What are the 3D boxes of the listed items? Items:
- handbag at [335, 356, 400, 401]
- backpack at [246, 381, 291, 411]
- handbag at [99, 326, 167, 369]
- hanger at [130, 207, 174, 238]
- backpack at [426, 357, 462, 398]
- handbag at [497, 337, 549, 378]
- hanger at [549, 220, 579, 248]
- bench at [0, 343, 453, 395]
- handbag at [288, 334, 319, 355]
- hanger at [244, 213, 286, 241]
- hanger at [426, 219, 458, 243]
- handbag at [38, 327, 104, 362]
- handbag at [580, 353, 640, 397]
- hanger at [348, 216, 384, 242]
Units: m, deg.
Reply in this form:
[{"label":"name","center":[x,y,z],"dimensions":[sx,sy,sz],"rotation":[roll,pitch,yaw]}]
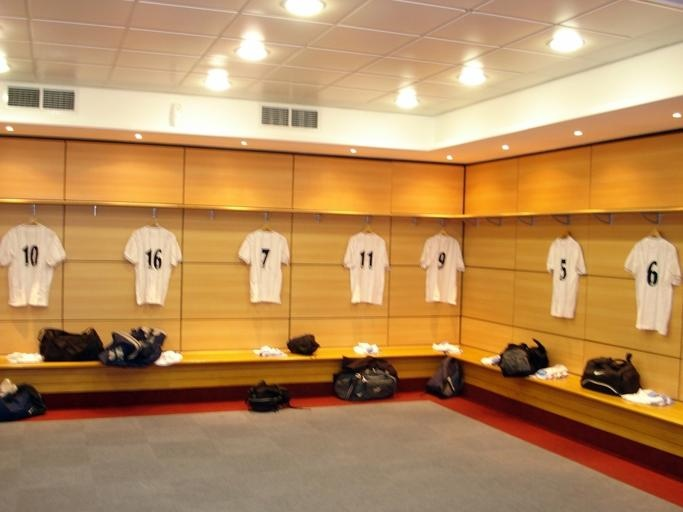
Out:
[{"label":"handbag","center":[0.349,1.725,7.271],"dimensions":[0.767,0.513,0.551],"rotation":[4,-9,-22]},{"label":"backpack","center":[-0.945,1.815,6.696],"dimensions":[0.561,0.335,0.311],"rotation":[0,4,-19]},{"label":"handbag","center":[-2.738,1.159,6.447],"dimensions":[0.492,0.405,0.195],"rotation":[3,-29,10]},{"label":"hanger","center":[-2.543,-0.480,7.040],"dimensions":[0.490,0.342,0.107],"rotation":[-1,5,-25]},{"label":"backpack","center":[1.507,1.637,7.566],"dimensions":[0.371,0.660,0.666],"rotation":[3,13,30]},{"label":"handbag","center":[2.288,1.311,6.618],"dimensions":[0.400,0.206,0.501],"rotation":[1,2,-6]},{"label":"hanger","center":[2.870,-0.279,6.639],"dimensions":[0.027,0.254,0.367],"rotation":[-2,4,-23]},{"label":"bench","center":[-1.955,1.542,6.771],"dimensions":[4.265,0.588,0.308],"rotation":[0,13,-21]},{"label":"handbag","center":[-0.533,1.262,7.327],"dimensions":[0.362,0.203,0.266],"rotation":[-1,-8,32]},{"label":"hanger","center":[-1.125,-0.411,7.394],"dimensions":[0.424,0.267,0.022],"rotation":[1,0,-17]},{"label":"hanger","center":[1.554,-0.379,8.146],"dimensions":[0.393,0.373,0.019],"rotation":[2,0,-13]},{"label":"handbag","center":[-3.363,1.133,6.451],"dimensions":[0.753,0.414,0.439],"rotation":[2,-2,-12]},{"label":"handbag","center":[3.056,1.329,5.899],"dimensions":[0.437,0.428,0.612],"rotation":[1,4,-26]},{"label":"hanger","center":[0.341,-0.394,7.786],"dimensions":[0.416,0.439,0.024],"rotation":[1,2,-24]}]
